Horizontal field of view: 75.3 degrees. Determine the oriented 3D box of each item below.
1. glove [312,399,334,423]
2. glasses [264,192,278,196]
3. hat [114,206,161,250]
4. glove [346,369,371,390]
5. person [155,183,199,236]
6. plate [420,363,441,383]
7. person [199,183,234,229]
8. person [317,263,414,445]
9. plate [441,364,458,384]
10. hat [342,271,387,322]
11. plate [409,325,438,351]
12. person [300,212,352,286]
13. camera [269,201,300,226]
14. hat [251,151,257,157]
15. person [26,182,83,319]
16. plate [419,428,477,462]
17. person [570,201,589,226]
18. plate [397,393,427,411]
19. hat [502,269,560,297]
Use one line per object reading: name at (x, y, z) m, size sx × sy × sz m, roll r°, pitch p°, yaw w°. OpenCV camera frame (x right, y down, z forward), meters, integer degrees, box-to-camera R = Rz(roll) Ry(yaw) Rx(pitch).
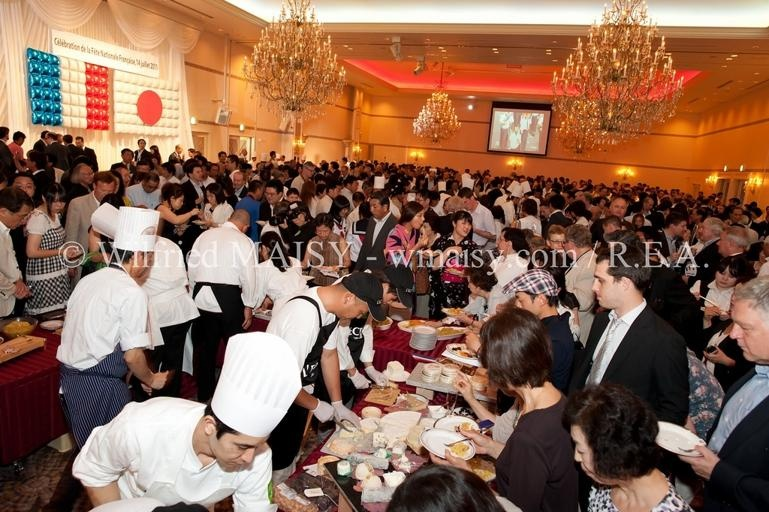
glove at (-0.435, 1.144, 3.722) m, size 0.110 × 0.165 × 0.204 m, roll 11°, pitch 13°, yaw 26°
glasses at (-1.597, -0.896, 7.064) m, size 0.086 × 0.045 × 0.111 m, roll 0°, pitch -3°, yaw 16°
hat at (-1.754, -0.189, 3.615) m, size 0.308 × 0.342 × 0.292 m, roll 15°, pitch 2°, yaw -19°
glove at (-0.221, 1.055, 4.308) m, size 0.218 × 0.125 × 0.086 m, roll 49°, pitch -2°, yaw -12°
person at (-2.694, -0.596, 6.495) m, size 0.517 × 0.409 × 0.954 m, roll 3°, pitch -33°, yaw -20°
plate at (0.393, 0.959, 4.128) m, size 0.128 × 0.098 × 0.130 m, roll 4°, pitch 5°, yaw 28°
person at (-2.422, -0.606, 7.082) m, size 0.471 × 0.834 × 0.468 m, roll 8°, pitch 12°, yaw 17°
person at (-0.151, 0.847, 4.042) m, size 0.655 × 1.659 × 0.487 m, roll 22°, pitch 40°, yaw -6°
plate at (0.518, 0.952, 4.064) m, size 0.146 × 0.133 × 0.152 m, roll 3°, pitch 5°, yaw 9°
hat at (-0.158, 0.277, 3.623) m, size 0.333 × 0.302 × 0.271 m, roll 4°, pitch 12°, yaw -6°
plate at (0.351, 0.735, 4.558) m, size 0.226 × 0.175 × 0.194 m, roll 5°, pitch 6°, yaw 10°
person at (-0.687, -0.128, 6.005) m, size 0.657 × 1.126 × 0.746 m, roll 2°, pitch 28°, yaw -3°
camera at (-1.259, -0.597, 6.382) m, size 0.357 × 0.164 × 0.377 m, roll -36°, pitch -12°, yaw 25°
hat at (-4.261, -3.358, 16.346) m, size 0.181 × 0.209 × 0.181 m, roll -14°, pitch 28°, yaw -41°
person at (-3.416, 0.021, 5.231) m, size 0.515 × 1.525 × 0.491 m, roll 13°, pitch 23°, yaw -8°
plate at (0.422, 1.228, 3.273) m, size 0.211 × 0.029 × 0.213 m, roll 15°, pitch 15°, yaw 27°
person at (2.876, -0.640, 7.405) m, size 0.314 × 0.335 × 0.988 m, roll 10°, pitch 12°, yaw 21°
plate at (0.214, 1.154, 3.943) m, size 0.247 × 0.050 × 0.199 m, roll 8°, pitch 12°, yaw 10°
hat at (1.066, 0.198, 3.584) m, size 0.273 × 0.150 × 0.208 m, roll 5°, pitch -8°, yaw 11°
